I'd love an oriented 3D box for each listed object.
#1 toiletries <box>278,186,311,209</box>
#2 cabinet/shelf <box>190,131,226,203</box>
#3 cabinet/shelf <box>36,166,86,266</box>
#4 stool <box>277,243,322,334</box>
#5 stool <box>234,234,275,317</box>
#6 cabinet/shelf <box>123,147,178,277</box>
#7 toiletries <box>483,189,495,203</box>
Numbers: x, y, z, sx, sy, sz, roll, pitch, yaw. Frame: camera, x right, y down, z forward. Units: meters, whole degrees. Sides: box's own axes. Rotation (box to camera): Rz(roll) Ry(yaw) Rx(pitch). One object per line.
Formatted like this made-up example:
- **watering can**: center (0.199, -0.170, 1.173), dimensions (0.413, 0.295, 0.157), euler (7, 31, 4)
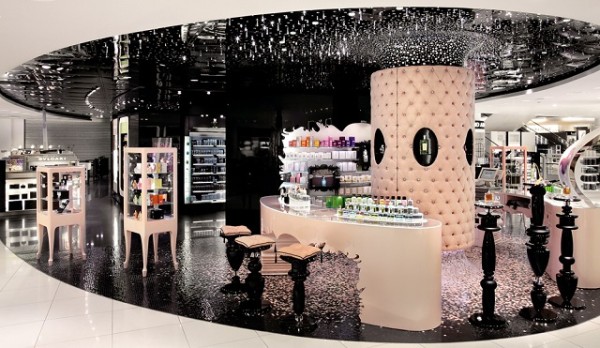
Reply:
- **toiletries**: center (-0.121, 0.505, 9.006), dimensions (0.323, 0.491, 0.879), euler (-3, 3, -33)
- **cabinet/shelf**: center (-3.468, -0.310, 15.193), dimensions (1.336, 2.772, 0.334), euler (-2, 3, -16)
- **cabinet/shelf**: center (-6.083, 0.967, 10.315), dimensions (1.203, 2.324, 0.785), euler (-2, 3, -13)
- **stool**: center (0.016, 2.138, 7.867), dimensions (0.738, 1.572, 0.821), euler (-1, 3, 21)
- **stool**: center (-0.968, 2.086, 8.442), dimensions (1.139, 1.376, 0.933), euler (0, -8, 15)
- **cabinet/shelf**: center (-3.620, 0.892, 9.943), dimensions (1.398, 2.708, 1.274), euler (0, 2, -14)
- **toiletries**: center (3.735, 0.451, 8.035), dimensions (0.155, 0.180, 0.290), euler (-1, 3, 19)
